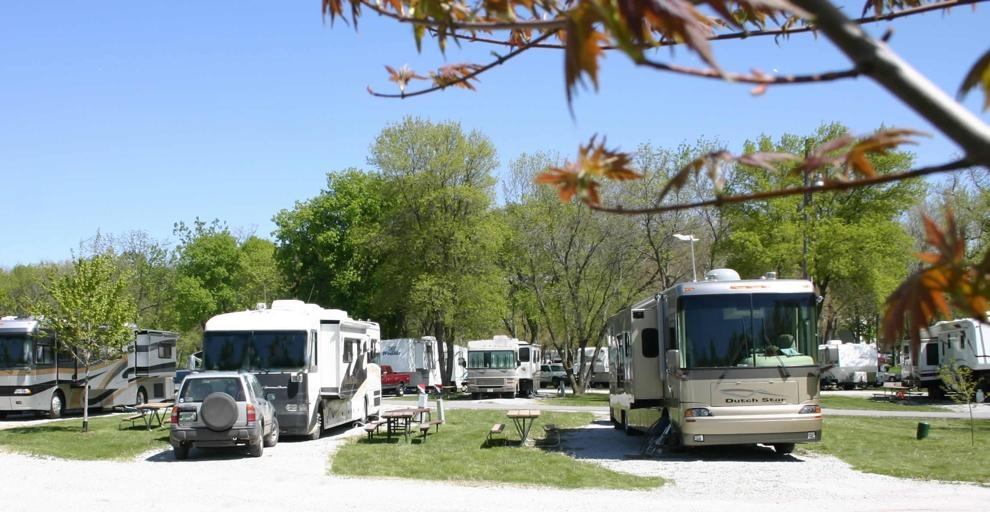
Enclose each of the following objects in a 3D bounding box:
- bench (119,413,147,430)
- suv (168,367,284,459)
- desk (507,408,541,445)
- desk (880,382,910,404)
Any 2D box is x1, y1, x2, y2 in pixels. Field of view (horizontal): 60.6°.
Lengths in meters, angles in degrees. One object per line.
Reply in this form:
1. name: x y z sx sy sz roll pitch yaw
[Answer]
1. bench: -17.016 7.830 39.741 0.735 0.419 0.949 -2 -3 6
2. suv: -10.583 6.136 32.419 3.214 3.175 1.266 0 3 1
3. desk: 1.149 7.072 34.771 1.385 1.240 1.342 -1 -5 0
4. desk: 24.914 8.674 52.210 1.769 1.179 2.567 -2 -2 19
